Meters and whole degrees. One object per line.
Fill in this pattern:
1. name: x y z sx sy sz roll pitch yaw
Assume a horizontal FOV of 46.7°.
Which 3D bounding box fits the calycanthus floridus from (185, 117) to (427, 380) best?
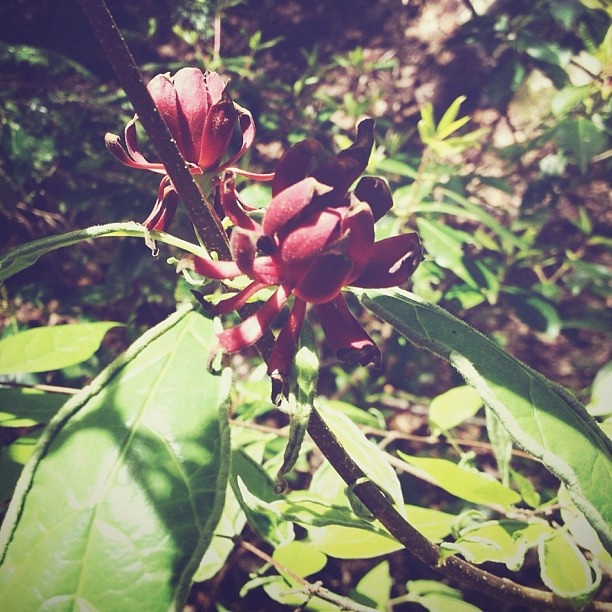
1. calycanthus floridus: 0.000 -0.108 1.527 0.487 0.501 0.230 -16 23 -6
